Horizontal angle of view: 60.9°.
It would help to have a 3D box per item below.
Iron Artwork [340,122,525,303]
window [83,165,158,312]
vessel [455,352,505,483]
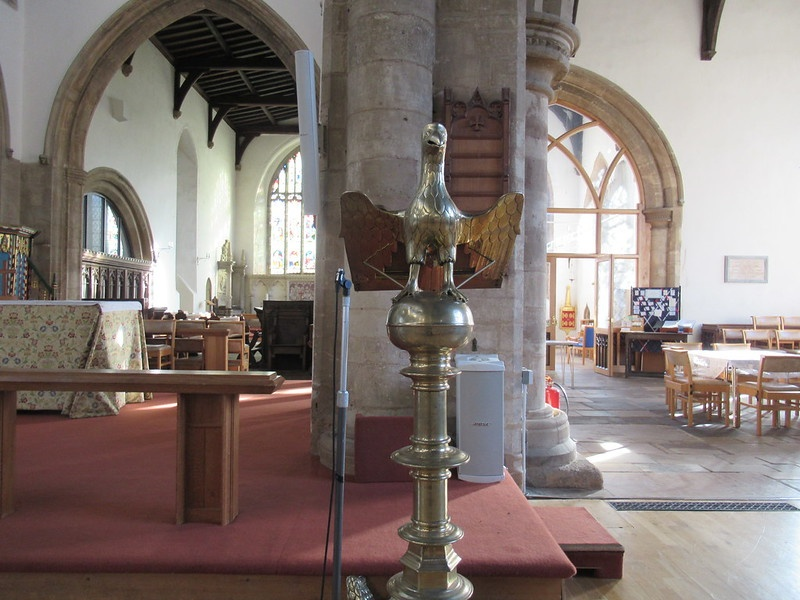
[{"bbox_3d":[0.185,-0.512,4.198,1.119,1.063,0.626,1,5,7],"label":"Iron Artwork"},{"bbox_3d":[-6.353,-1.055,14.323,2.725,2.924,0.296,0,2,38],"label":"window"},{"bbox_3d":[0.634,0.939,5.369,0.374,0.950,0.241,-2,-2,6],"label":"vessel"}]
